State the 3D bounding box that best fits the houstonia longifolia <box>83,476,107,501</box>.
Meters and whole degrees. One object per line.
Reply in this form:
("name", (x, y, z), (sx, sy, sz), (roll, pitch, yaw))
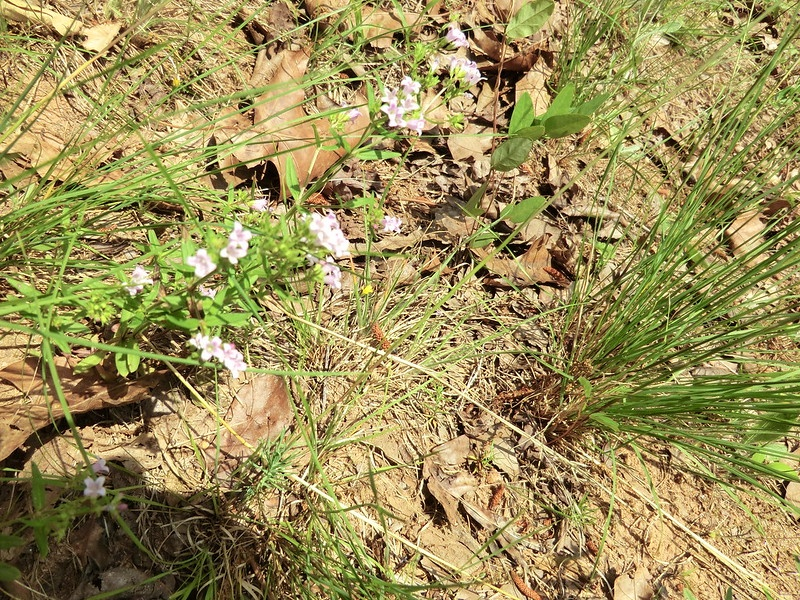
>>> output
("houstonia longifolia", (-1.268, 0.781, 2.525), (0.079, 0.083, 0.092), (-7, 75, -9))
